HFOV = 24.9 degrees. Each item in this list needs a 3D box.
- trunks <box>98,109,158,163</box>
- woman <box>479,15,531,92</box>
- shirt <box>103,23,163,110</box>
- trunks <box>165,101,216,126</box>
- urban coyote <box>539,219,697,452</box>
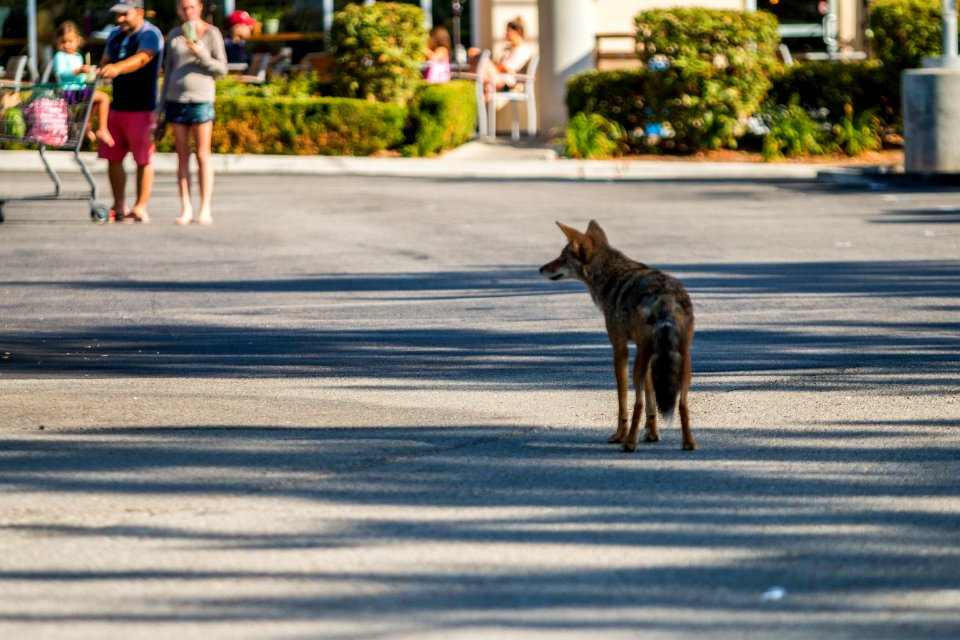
[{"bbox_3d":[-3.882,-2.046,23.963,0.640,0.542,0.361,5,11,10],"label":"trunks"},{"bbox_3d":[0.376,-4.126,34.075,0.793,1.142,1.446,-1,7,1],"label":"woman"},{"bbox_3d":[-3.801,-2.771,23.897,0.646,0.954,0.517,-2,7,-1],"label":"shirt"},{"bbox_3d":[-3.246,-2.278,23.938,0.564,0.273,0.282,0,7,10],"label":"trunks"},{"bbox_3d":[1.124,0.142,15.839,0.471,1.626,1.125,-7,9,-37],"label":"urban coyote"}]
